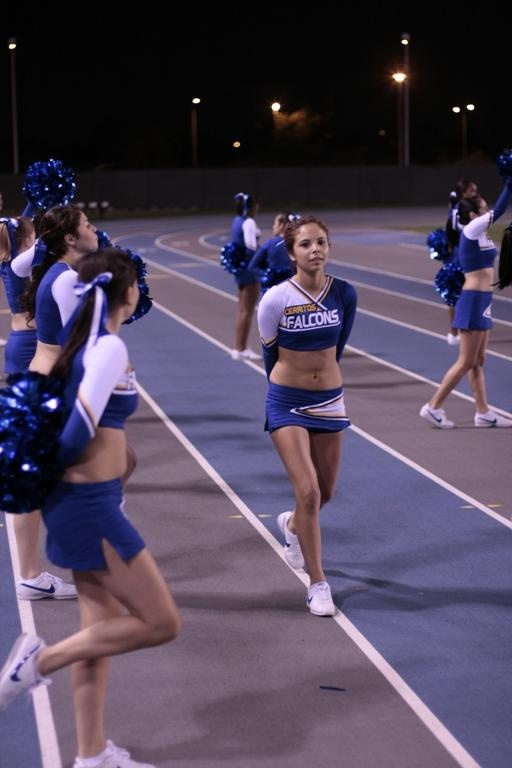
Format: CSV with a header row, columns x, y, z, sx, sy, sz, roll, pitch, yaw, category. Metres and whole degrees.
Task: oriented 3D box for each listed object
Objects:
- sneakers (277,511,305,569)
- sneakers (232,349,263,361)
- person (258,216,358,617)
x,y,z,sx,sy,sz,roll,pitch,yaw,category
0.222,0.906,4.291,0.123,0.349,0.151,-21,15,-28,sneakers
-0.151,-0.445,10.979,0.473,0.190,0.158,-2,20,-10,sneakers
0.254,0.136,3.761,0.477,1.991,0.651,0,10,8,person
